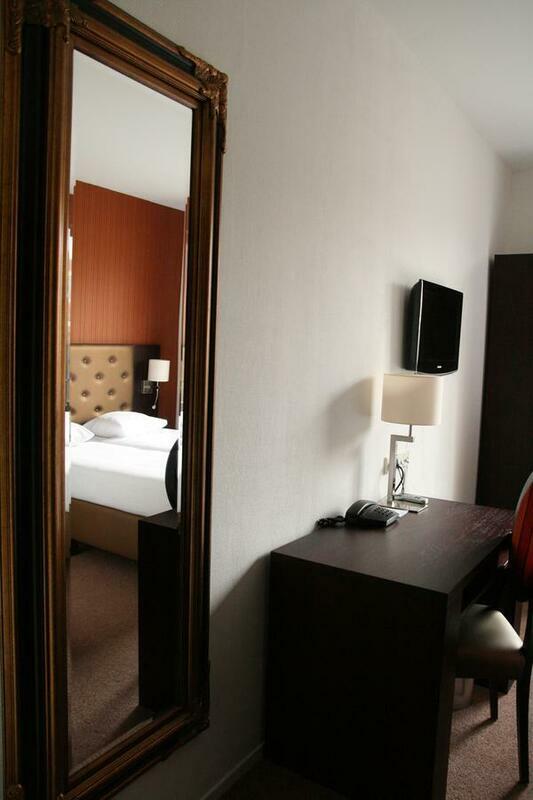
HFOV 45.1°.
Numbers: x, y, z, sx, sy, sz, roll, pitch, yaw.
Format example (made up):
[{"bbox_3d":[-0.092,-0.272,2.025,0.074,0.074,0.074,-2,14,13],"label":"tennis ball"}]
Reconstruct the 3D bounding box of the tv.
[{"bbox_3d":[0.819,-0.332,3.081,0.066,0.435,0.528,7,7,35],"label":"tv"}]

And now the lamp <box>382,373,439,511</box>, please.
[{"bbox_3d":[0.569,0.157,2.568,0.220,0.512,0.451,2,2,11],"label":"lamp"}]
